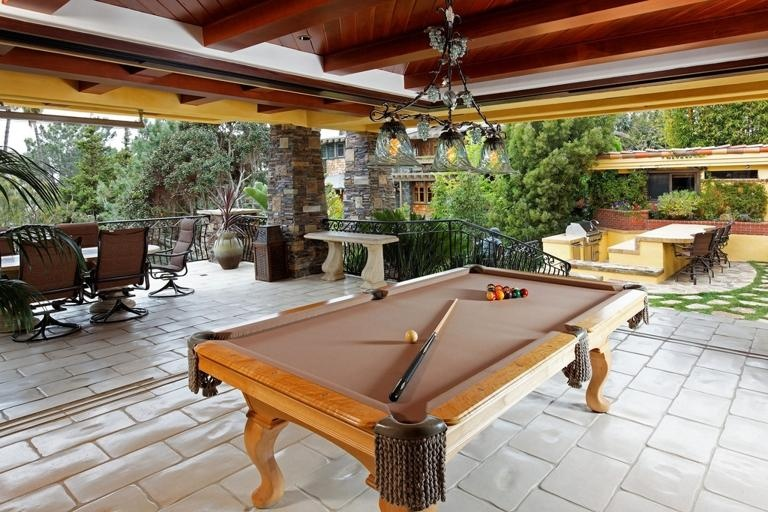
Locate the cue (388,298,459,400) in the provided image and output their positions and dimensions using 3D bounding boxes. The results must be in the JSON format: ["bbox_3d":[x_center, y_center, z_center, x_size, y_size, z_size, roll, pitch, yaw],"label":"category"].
[{"bbox_3d":[0.357,0.568,3.001,0.063,0.050,1.560,23,26,15],"label":"cue"}]

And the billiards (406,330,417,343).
[{"bbox_3d":[0.195,0.576,2.922,0.083,0.073,0.067,-3,-41,27],"label":"billiards"}]

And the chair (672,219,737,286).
[{"bbox_3d":[8.146,-0.131,10.446,0.992,1.329,3.240,6,7,40],"label":"chair"}]

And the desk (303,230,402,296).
[{"bbox_3d":[-0.624,0.068,8.342,2.526,1.016,1.256,9,11,41],"label":"desk"}]
